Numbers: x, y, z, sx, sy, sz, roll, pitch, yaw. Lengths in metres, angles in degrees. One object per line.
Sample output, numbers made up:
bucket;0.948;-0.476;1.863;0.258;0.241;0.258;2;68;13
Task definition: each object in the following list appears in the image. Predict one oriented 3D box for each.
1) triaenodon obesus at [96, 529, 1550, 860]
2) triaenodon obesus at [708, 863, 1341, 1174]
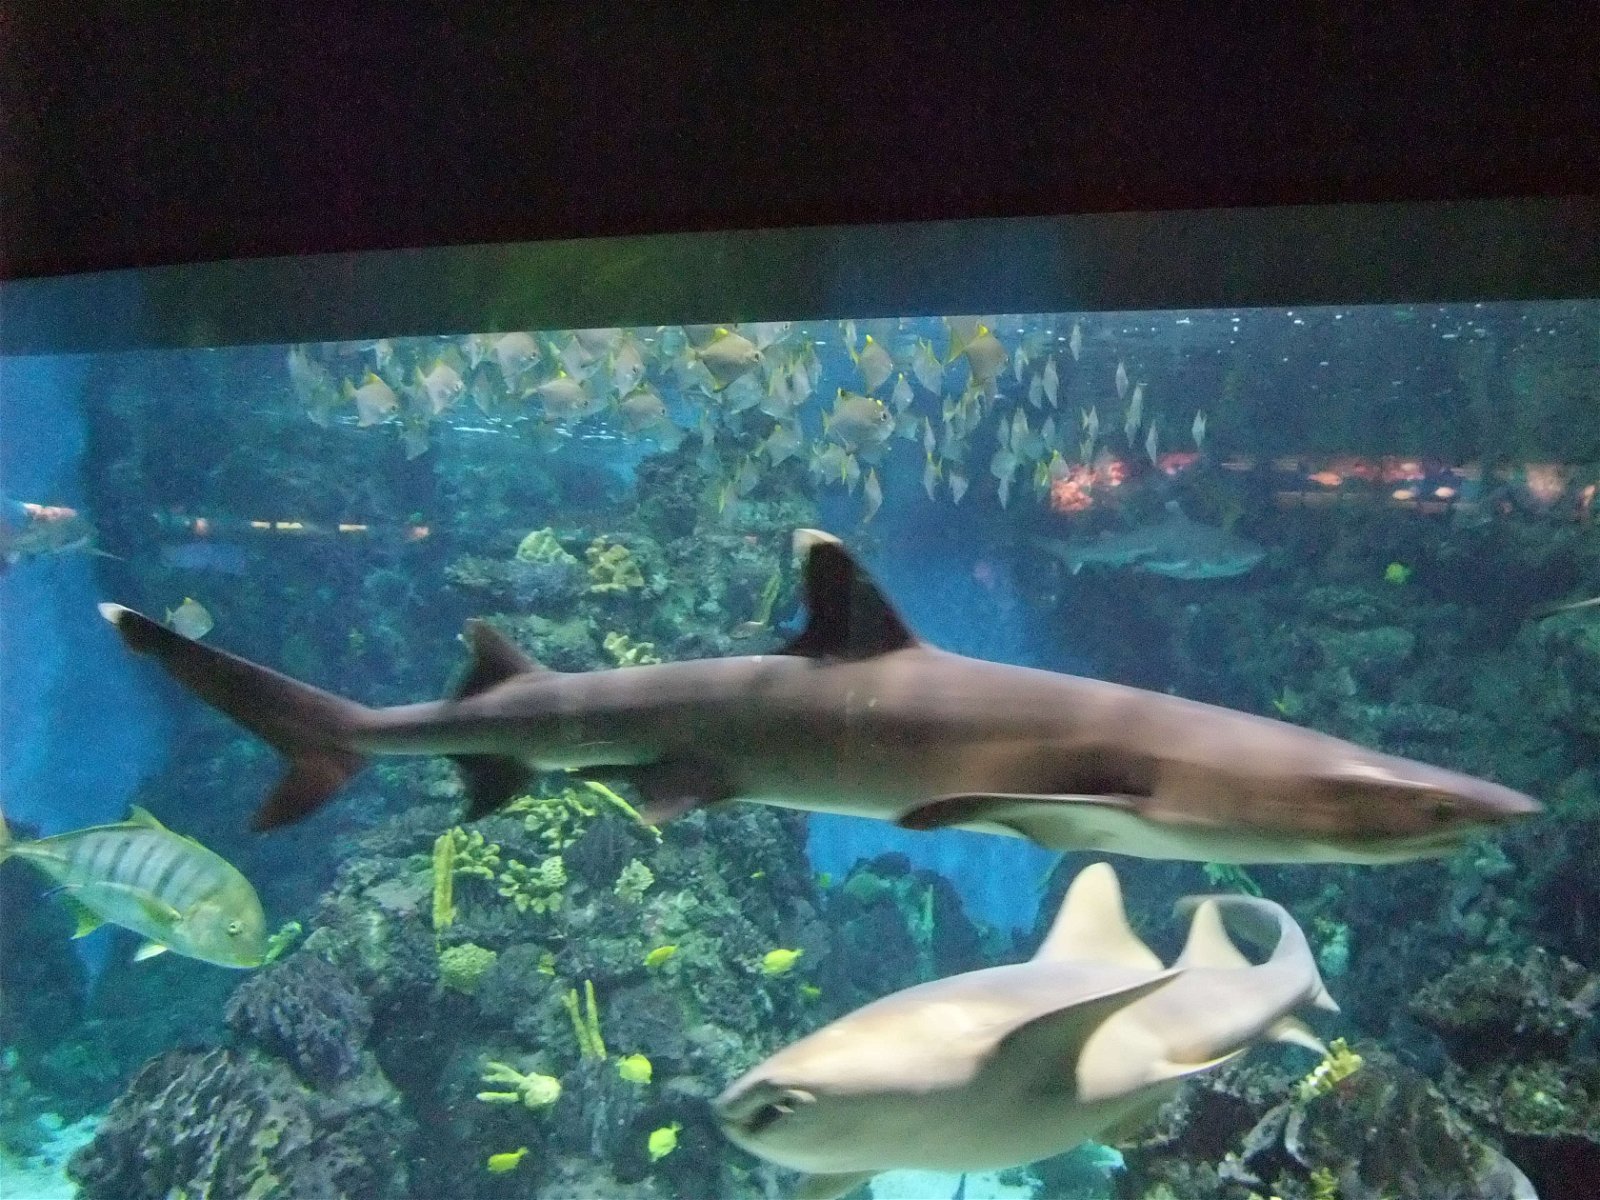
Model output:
triaenodon obesus;-0.626;0.570;6.775;7.155;1.692;1.968;2;3;10
triaenodon obesus;0.961;1.888;6.204;2.528;0.969;0.933;-6;15;-32
